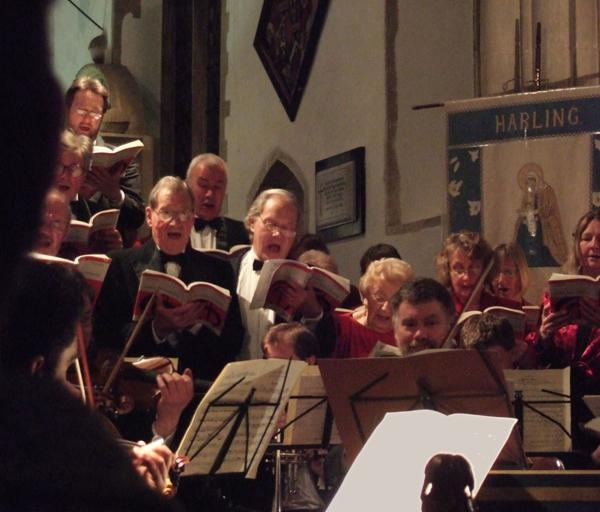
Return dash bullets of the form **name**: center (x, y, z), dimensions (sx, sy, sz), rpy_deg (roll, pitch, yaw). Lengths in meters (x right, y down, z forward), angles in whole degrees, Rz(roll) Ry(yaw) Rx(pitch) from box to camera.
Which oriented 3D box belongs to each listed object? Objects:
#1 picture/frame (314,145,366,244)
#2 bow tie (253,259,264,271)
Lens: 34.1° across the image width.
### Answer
- **picture/frame**: center (0.355, -0.568, 9.745), dimensions (0.097, 0.885, 0.824), rpy_deg (4, -9, -35)
- **bow tie**: center (-0.205, 0.044, 4.775), dimensions (0.056, 0.056, 0.053), rpy_deg (5, -4, -40)
